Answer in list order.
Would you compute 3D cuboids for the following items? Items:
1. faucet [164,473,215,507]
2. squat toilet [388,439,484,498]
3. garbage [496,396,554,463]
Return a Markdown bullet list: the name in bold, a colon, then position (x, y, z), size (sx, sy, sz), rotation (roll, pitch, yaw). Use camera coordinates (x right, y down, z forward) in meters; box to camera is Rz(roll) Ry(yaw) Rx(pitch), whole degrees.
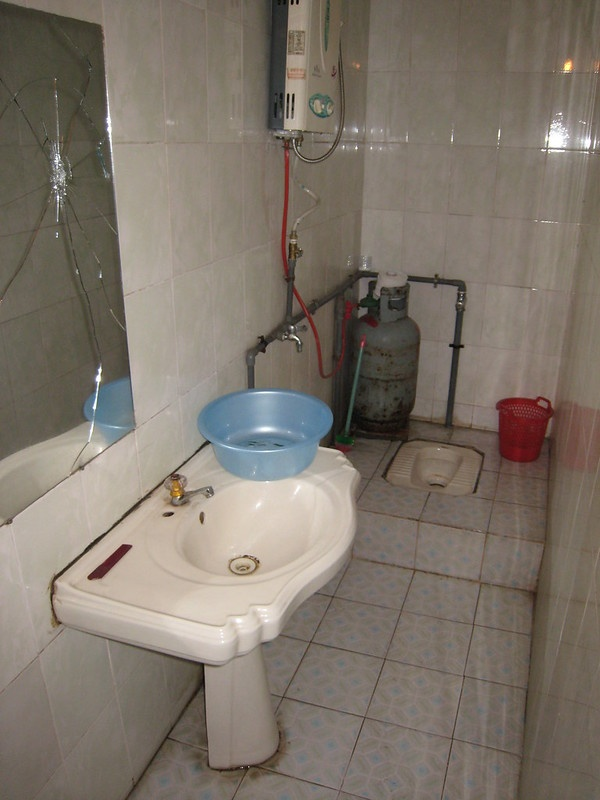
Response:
- **faucet**: position (-0.287, 0.227, 1.521), size (0.129, 0.100, 0.062), rotation (1, 23, 16)
- **squat toilet**: position (0.709, 0.372, 3.114), size (0.466, 0.150, 0.665), rotation (10, 26, 18)
- **garbage**: position (1.223, 0.131, 3.279), size (0.352, 0.373, 0.339), rotation (10, 24, 22)
